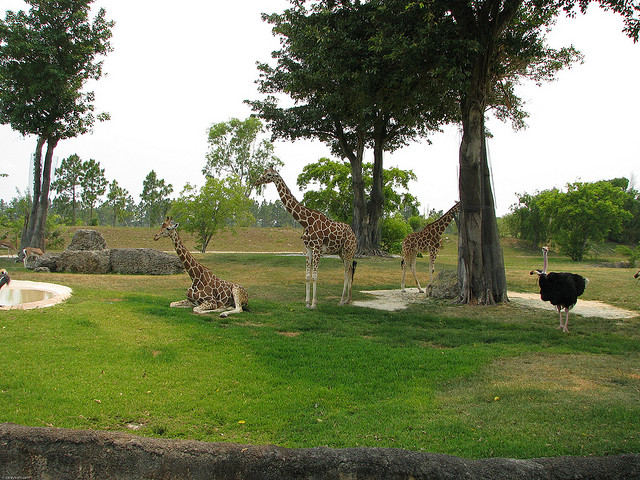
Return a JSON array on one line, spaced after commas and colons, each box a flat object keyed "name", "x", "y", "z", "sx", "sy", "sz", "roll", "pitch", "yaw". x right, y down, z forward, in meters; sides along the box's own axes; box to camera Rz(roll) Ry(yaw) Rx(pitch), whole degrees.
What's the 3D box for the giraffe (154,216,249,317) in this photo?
[{"name": "giraffe", "x": -3.209, "y": 0.944, "z": 15.947, "sx": 1.969, "sy": 3.178, "sz": 2.185, "roll": 6, "pitch": 6, "yaw": 19}]
